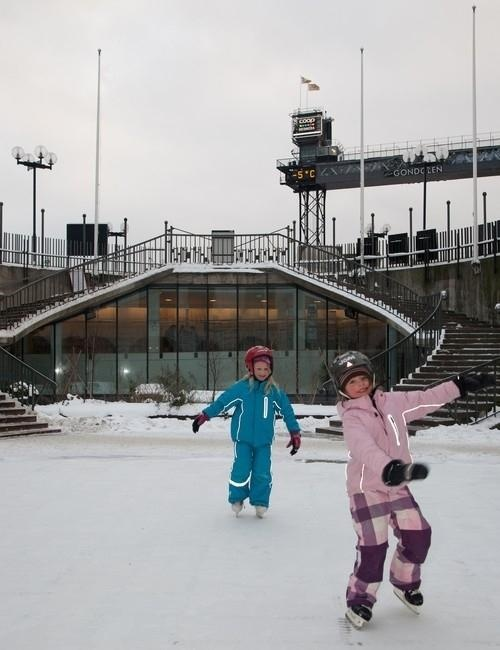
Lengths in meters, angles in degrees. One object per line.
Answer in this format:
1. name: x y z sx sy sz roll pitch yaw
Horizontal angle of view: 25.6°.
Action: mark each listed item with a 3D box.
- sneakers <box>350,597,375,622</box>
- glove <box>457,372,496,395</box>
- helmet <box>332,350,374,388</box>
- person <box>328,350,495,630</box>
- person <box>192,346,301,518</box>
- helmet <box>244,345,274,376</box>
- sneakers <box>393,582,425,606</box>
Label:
1. sneakers: 0.653 1.688 6.486 0.151 0.137 0.139 -2 0 -8
2. glove: 1.340 0.351 6.572 0.188 0.148 0.075 -12 -8 17
3. helmet: 0.629 0.227 6.774 0.177 0.265 0.249 -8 25 -5
4. person: 0.877 0.957 6.598 0.752 1.607 0.914 -2 0 4
5. person: -0.015 0.898 9.448 0.850 1.427 0.817 -2 0 2
6. helmet: 0.066 0.259 9.409 0.175 0.249 0.257 4 -31 -13
7. sneakers: 0.962 1.641 6.680 0.075 0.118 0.244 -1 -6 -21
